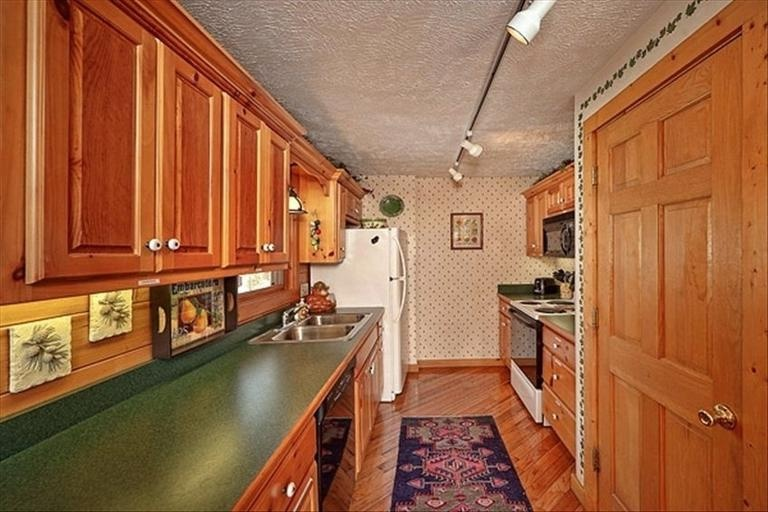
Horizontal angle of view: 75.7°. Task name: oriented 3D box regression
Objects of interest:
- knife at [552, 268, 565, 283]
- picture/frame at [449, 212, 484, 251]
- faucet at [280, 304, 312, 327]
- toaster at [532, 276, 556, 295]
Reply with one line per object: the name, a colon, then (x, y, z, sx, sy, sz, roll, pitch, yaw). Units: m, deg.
knife: (1.754, 0.197, 4.939, 0.034, 0.121, 0.124, 22, -15, -13)
picture/frame: (0.894, -0.258, 5.288, 0.456, 0.467, 0.035, 1, -1, 0)
faucet: (-0.628, 0.414, 3.477, 0.090, 0.084, 0.242, -2, -2, 16)
toaster: (1.670, 0.307, 5.097, 0.194, 0.113, 0.183, -1, 1, -12)
